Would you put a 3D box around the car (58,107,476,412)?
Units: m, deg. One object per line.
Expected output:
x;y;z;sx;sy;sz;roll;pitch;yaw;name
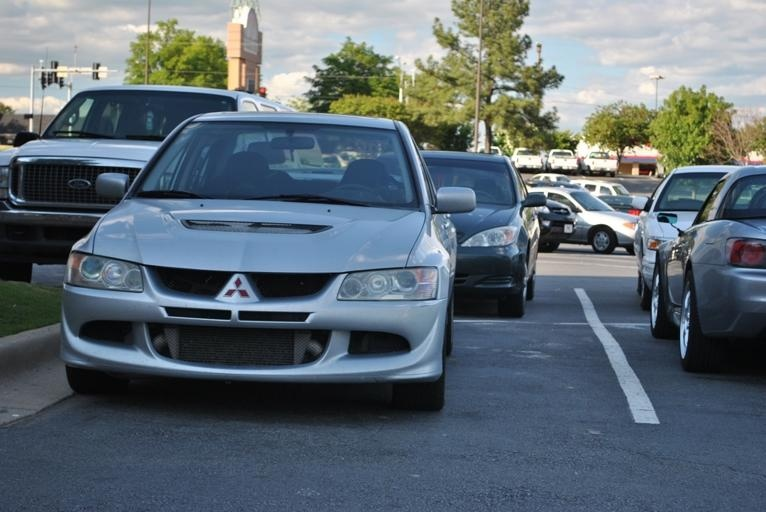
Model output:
-0.755;-0.086;5.252;2.744;2.316;2.072;3;5;11;car
